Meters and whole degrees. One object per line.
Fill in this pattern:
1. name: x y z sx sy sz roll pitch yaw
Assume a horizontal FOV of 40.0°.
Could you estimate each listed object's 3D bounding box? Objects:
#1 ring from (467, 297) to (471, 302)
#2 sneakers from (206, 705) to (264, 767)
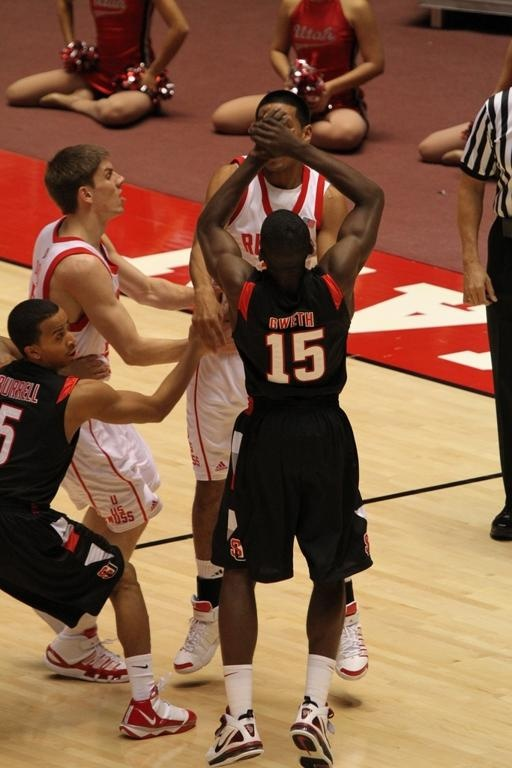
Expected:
1. ring: 0.771 -0.309 2.516 0.006 0.013 0.015 -7 8 -32
2. sneakers: -0.035 0.622 1.225 0.061 0.158 0.096 6 67 -24
